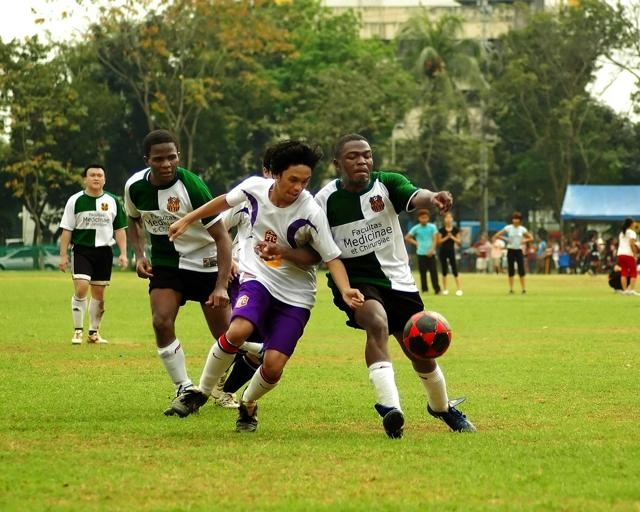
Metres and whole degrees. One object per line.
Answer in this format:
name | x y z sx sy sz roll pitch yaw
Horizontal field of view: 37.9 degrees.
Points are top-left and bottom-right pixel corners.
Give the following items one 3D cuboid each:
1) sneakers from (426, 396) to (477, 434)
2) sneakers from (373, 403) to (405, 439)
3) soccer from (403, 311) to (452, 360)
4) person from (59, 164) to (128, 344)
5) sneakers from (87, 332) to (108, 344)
sneakers | 1.088 1.280 7.580 0.174 0.209 0.468 -20 42 -42
sneakers | 0.533 1.257 7.162 0.122 0.357 0.149 -18 41 -10
soccer | 0.866 0.645 7.535 0.401 0.389 0.396 5 -21 -19
person | -2.987 -0.035 12.295 0.855 2.367 1.068 -1 -2 -13
sneakers | -2.961 1.081 12.280 0.322 0.137 0.120 2 1 10
